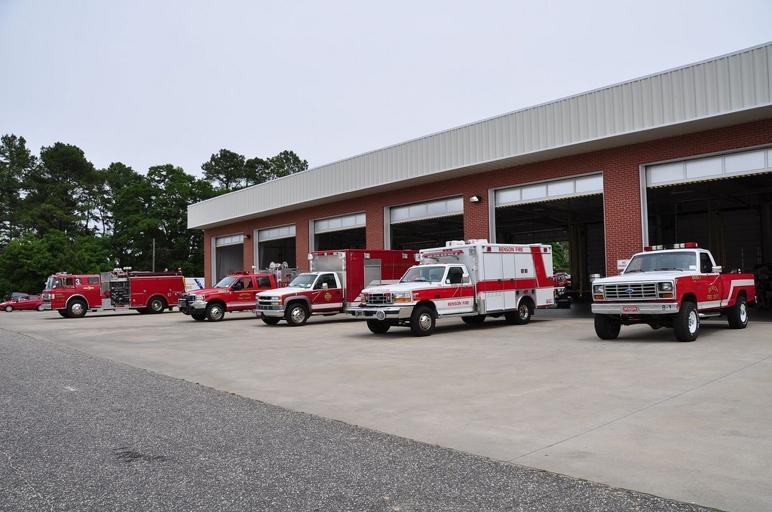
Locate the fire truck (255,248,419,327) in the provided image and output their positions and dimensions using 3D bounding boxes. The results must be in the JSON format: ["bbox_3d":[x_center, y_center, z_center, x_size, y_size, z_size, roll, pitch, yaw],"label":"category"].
[{"bbox_3d":[-1.706,1.378,23.976,7.523,3.001,3.037,4,-7,-41],"label":"fire truck"}]

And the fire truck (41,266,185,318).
[{"bbox_3d":[-16.137,2.118,33.446,7.583,2.841,3.780,0,0,-26],"label":"fire truck"}]

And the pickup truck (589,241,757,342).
[{"bbox_3d":[8.685,1.050,16.102,5.608,2.512,2.774,2,-3,-39],"label":"pickup truck"}]

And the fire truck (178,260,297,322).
[{"bbox_3d":[-7.057,1.917,26.720,2.182,1.838,5.188,-5,-4,43],"label":"fire truck"}]
